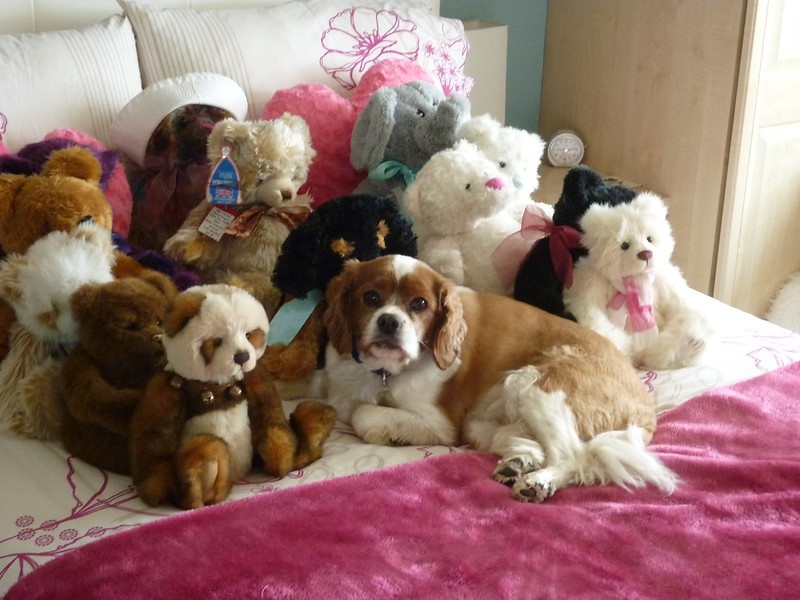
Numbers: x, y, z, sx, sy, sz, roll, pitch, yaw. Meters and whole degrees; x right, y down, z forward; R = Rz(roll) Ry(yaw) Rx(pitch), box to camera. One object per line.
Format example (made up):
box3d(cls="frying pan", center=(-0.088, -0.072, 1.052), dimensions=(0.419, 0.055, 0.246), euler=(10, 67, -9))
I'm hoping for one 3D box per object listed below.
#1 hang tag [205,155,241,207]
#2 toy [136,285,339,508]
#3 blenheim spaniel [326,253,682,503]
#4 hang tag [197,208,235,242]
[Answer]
box3d(cls="hang tag", center=(-0.466, -0.322, 1.952), dimensions=(0.093, 0.162, 0.012), euler=(2, -17, -11))
box3d(cls="toy", center=(-0.373, 0.198, 1.532), dimensions=(0.423, 0.450, 0.251), euler=(-10, 14, -39))
box3d(cls="blenheim spaniel", center=(0.199, 0.119, 1.608), dimensions=(0.645, 0.309, 0.495), euler=(11, 13, 1))
box3d(cls="hang tag", center=(-0.491, -0.205, 1.947), dimensions=(0.078, 0.083, 0.020), euler=(29, -6, 2))
